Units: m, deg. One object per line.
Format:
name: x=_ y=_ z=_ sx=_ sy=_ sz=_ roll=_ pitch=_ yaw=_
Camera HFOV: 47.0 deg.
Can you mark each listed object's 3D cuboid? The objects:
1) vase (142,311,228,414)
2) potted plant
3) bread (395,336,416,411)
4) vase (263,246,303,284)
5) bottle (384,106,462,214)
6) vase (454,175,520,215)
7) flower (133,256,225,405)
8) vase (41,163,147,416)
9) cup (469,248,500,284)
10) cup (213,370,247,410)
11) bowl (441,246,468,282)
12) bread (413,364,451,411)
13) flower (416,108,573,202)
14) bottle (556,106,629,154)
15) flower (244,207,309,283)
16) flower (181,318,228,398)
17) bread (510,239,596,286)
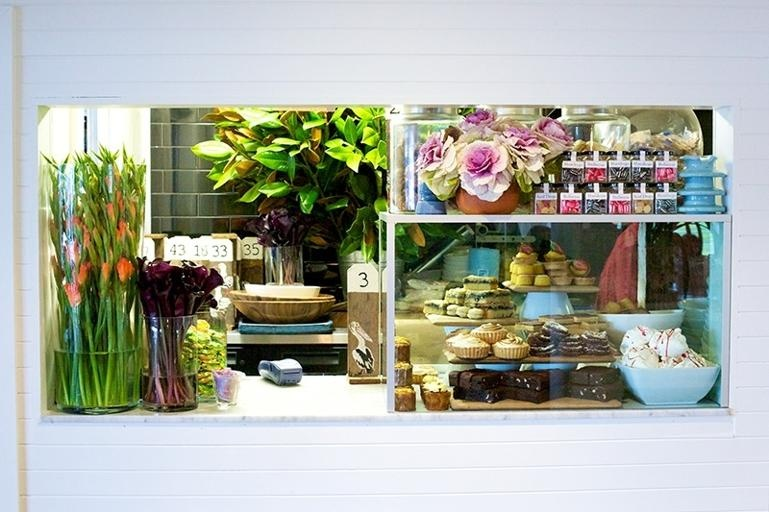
vase: x=-0.781 y=0.407 z=3.463 sx=0.388 sy=0.398 sz=0.369 roll=0 pitch=-2 yaw=4
potted plant: x=-0.295 y=-0.329 z=4.822 sx=1.431 sy=1.267 sz=0.988 roll=-1 pitch=1 yaw=-8
bread: x=0.072 y=0.453 z=3.415 sx=0.078 sy=0.297 sz=0.054 roll=-2 pitch=1 yaw=0
vase: x=-0.524 y=0.039 z=4.535 sx=0.216 sy=0.207 sz=0.226 roll=-1 pitch=6 yaw=-10
bottle: x=0.194 y=-0.365 z=3.542 sx=0.314 sy=0.422 sz=0.276 roll=1 pitch=-8 yaw=9
vase: x=0.395 y=-0.232 z=3.367 sx=0.167 sy=0.107 sz=0.159 roll=-2 pitch=3 yaw=1
flower: x=-0.788 y=0.307 z=3.439 sx=0.312 sy=0.422 sz=0.138 roll=-2 pitch=1 yaw=-15
vase: x=-1.101 y=0.109 z=3.422 sx=0.357 sy=0.765 sz=0.173 roll=-2 pitch=1 yaw=-18
cup: x=0.384 y=0.028 z=3.441 sx=0.132 sy=0.126 sz=0.123 roll=-1 pitch=5 yaw=0
cup: x=-0.600 y=0.531 z=3.541 sx=0.148 sy=0.148 sz=0.145 roll=-3 pitch=0 yaw=0
bowl: x=0.275 y=0.031 z=3.437 sx=0.130 sy=0.111 sz=0.123 roll=2 pitch=2 yaw=0
bread: x=0.178 y=0.511 z=3.366 sx=0.119 sy=0.111 sz=0.202 roll=0 pitch=-4 yaw=-4
flower: x=0.551 y=-0.407 z=3.439 sx=0.502 sy=0.205 sz=0.489 roll=-12 pitch=1 yaw=-31
bottle: x=0.850 y=-0.489 z=3.585 sx=0.252 sy=0.219 sz=0.245 roll=0 pitch=4 yaw=17
flower: x=-0.522 y=-0.053 z=4.436 sx=0.370 sy=0.340 sz=0.354 roll=2 pitch=-5 yaw=-17
flower: x=-0.687 y=0.398 z=3.638 sx=0.229 sy=0.340 sz=0.232 roll=-3 pitch=-4 yaw=32
bread: x=0.640 y=0.030 z=3.422 sx=0.328 sy=0.166 sz=0.057 roll=-2 pitch=1 yaw=-17
